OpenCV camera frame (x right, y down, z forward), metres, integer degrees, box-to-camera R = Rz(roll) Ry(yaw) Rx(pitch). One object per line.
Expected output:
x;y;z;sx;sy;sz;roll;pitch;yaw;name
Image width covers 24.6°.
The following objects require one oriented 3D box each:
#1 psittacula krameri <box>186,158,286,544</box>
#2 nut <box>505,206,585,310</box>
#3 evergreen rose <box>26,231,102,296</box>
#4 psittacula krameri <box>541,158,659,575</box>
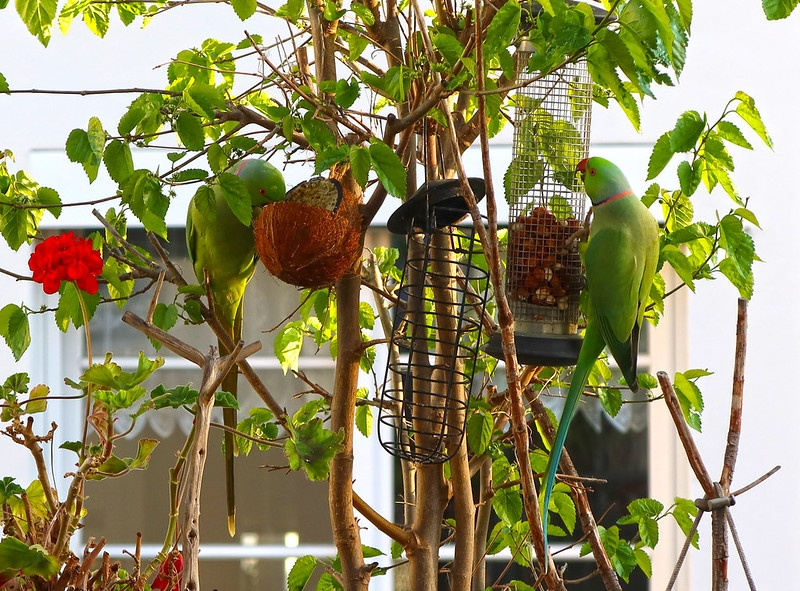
-0.375;-0.032;3.972;0.148;0.521;0.136;0;20;-7;psittacula krameri
0.323;-0.077;4.097;0.148;0.239;0.163;1;-2;10;nut
-0.704;-0.078;3.840;0.129;0.141;0.100;8;8;39;evergreen rose
0.387;0.129;4.024;0.251;0.851;0.168;20;12;13;psittacula krameri
